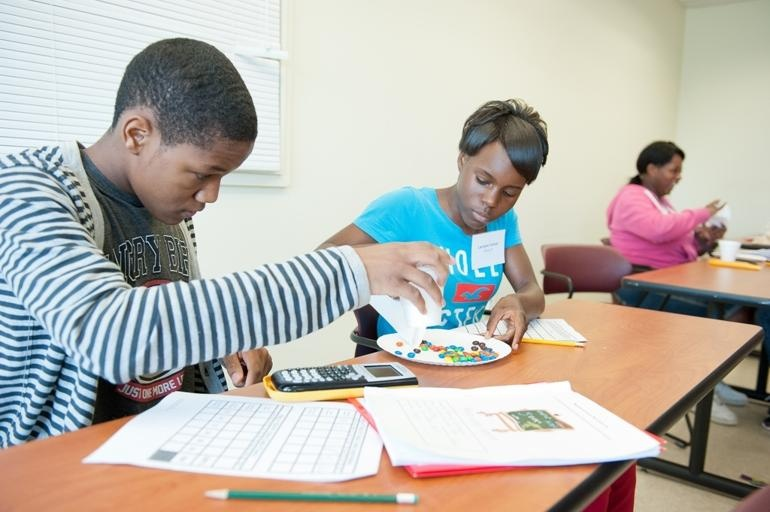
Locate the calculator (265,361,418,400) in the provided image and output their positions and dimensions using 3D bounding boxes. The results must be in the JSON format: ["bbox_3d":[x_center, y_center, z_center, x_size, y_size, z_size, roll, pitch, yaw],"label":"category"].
[{"bbox_3d":[-0.109,0.311,1.333,0.360,0.035,0.158,0,4,-20],"label":"calculator"}]

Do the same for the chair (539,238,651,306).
[{"bbox_3d":[1.200,0.070,3.181,0.438,0.556,0.373,-2,5,-12],"label":"chair"}]

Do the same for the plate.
[{"bbox_3d":[0.177,0.214,1.600,0.410,0.100,0.450,1,8,4],"label":"plate"}]

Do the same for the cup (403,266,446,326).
[{"bbox_3d":[0.071,0.090,1.302,0.123,0.128,0.128,0,-5,0],"label":"cup"}]
